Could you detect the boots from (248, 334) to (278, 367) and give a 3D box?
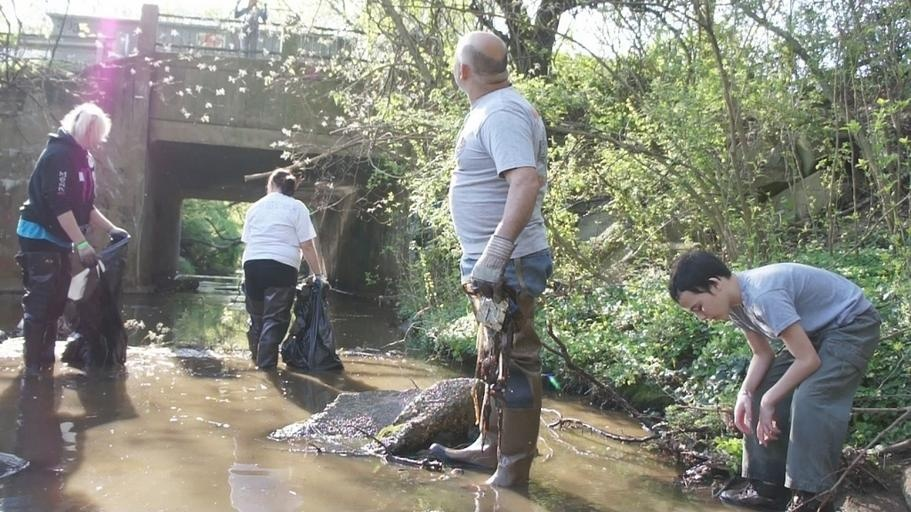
[{"bbox_3d":[-2.614,1.289,10.374,0.426,0.392,0.160,-2,8,41],"label":"boots"}]

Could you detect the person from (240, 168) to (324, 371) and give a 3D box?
[{"bbox_3d":[-2.421,0.168,10.493,1.034,2.697,0.802,3,4,-16],"label":"person"}]

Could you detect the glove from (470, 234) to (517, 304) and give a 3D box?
[{"bbox_3d":[0.320,0.126,7.357,0.485,0.767,0.206,11,-37,27],"label":"glove"}]

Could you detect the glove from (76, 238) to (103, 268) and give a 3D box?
[{"bbox_3d":[-4.547,-0.018,9.401,0.237,0.117,0.328,9,-40,44],"label":"glove"}]

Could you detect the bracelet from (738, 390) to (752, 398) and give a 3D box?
[{"bbox_3d":[2.903,1.396,7.677,0.084,0.063,0.083,2,-6,-41],"label":"bracelet"}]
